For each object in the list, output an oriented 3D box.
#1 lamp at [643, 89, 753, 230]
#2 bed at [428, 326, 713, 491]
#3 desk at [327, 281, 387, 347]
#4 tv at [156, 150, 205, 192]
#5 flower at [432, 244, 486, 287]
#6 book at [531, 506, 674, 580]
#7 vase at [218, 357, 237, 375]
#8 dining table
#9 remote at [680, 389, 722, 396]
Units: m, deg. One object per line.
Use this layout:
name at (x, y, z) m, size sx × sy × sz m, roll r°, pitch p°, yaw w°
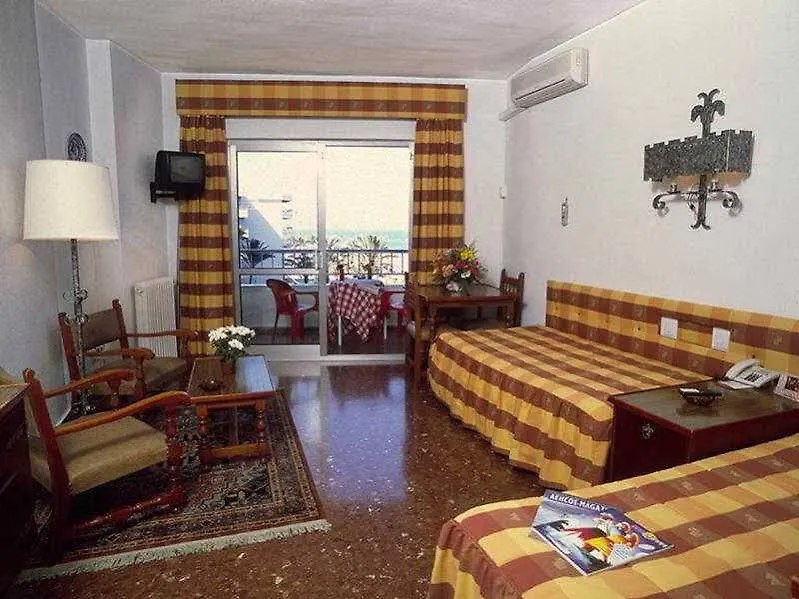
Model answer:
lamp at (1.897, -0.744, 3.633) m, size 0.225 × 0.596 × 0.684 m, roll -4°, pitch 10°, yaw -17°
bed at (0.935, 0.692, 3.834) m, size 0.844 × 0.409 × 1.314 m, roll -4°, pitch 14°, yaw -18°
desk at (-0.549, 0.137, 6.670) m, size 0.723 × 0.741 × 0.568 m, roll -1°, pitch 8°, yaw -12°
tv at (-2.101, -1.218, 5.388) m, size 0.461 × 0.357 × 0.224 m, roll -4°, pitch 10°, yaw -22°
flower at (0.583, -0.317, 5.462) m, size 0.410 × 0.366 × 0.410 m, roll -7°, pitch 9°, yaw -35°
book at (0.788, 0.937, 2.213) m, size 0.501 × 0.110 × 0.302 m, roll -2°, pitch 9°, yaw -6°
vase at (-1.276, 0.498, 4.170) m, size 0.122 × 0.092 × 0.123 m, roll -2°, pitch 6°, yaw -11°
dining table at (0.587, 0.271, 5.399) m, size 0.757 × 0.388 × 0.567 m, roll -2°, pitch 5°, yaw -14°
remote at (1.611, 0.503, 3.009) m, size 0.126 × 0.018 × 0.066 m, roll 2°, pitch 0°, yaw 17°
